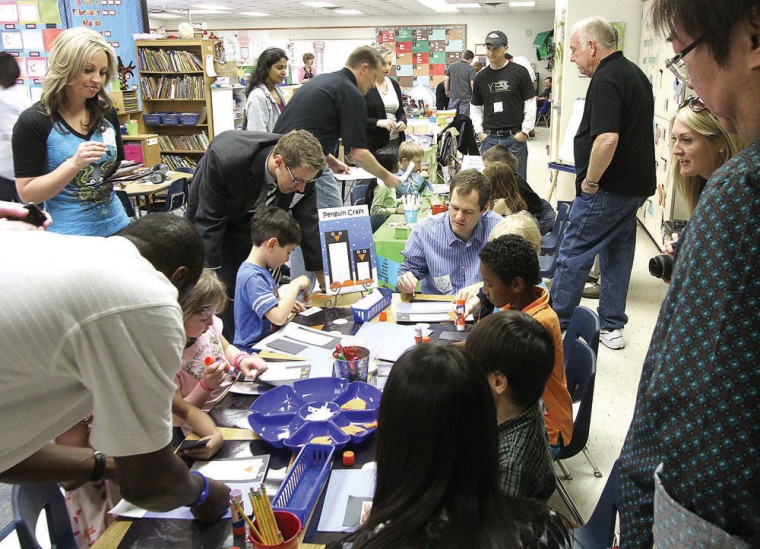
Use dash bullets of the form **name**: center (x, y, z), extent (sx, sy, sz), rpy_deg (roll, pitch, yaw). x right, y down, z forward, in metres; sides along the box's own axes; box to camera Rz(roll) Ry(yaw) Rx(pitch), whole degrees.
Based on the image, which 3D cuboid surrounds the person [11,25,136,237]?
- **person**: center (-1.672, -0.759, 3.044), extent (0.550, 1.127, 0.509), rpy_deg (-7, 14, -32)

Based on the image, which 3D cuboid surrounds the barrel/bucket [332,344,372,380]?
- **barrel/bucket**: center (-0.104, 0.347, 2.228), extent (0.106, 0.106, 0.139), rpy_deg (-1, 3, -20)

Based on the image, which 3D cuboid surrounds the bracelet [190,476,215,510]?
- **bracelet**: center (-0.467, 0.578, 1.488), extent (0.030, 0.089, 0.087), rpy_deg (3, 19, -12)

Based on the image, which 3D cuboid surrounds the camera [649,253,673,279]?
- **camera**: center (0.984, -0.027, 1.972), extent (0.052, 0.048, 0.103), rpy_deg (0, 2, 44)

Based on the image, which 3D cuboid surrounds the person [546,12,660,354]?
- **person**: center (1.664, -0.656, 4.271), extent (0.846, 2.378, 0.994), rpy_deg (9, 17, 39)
